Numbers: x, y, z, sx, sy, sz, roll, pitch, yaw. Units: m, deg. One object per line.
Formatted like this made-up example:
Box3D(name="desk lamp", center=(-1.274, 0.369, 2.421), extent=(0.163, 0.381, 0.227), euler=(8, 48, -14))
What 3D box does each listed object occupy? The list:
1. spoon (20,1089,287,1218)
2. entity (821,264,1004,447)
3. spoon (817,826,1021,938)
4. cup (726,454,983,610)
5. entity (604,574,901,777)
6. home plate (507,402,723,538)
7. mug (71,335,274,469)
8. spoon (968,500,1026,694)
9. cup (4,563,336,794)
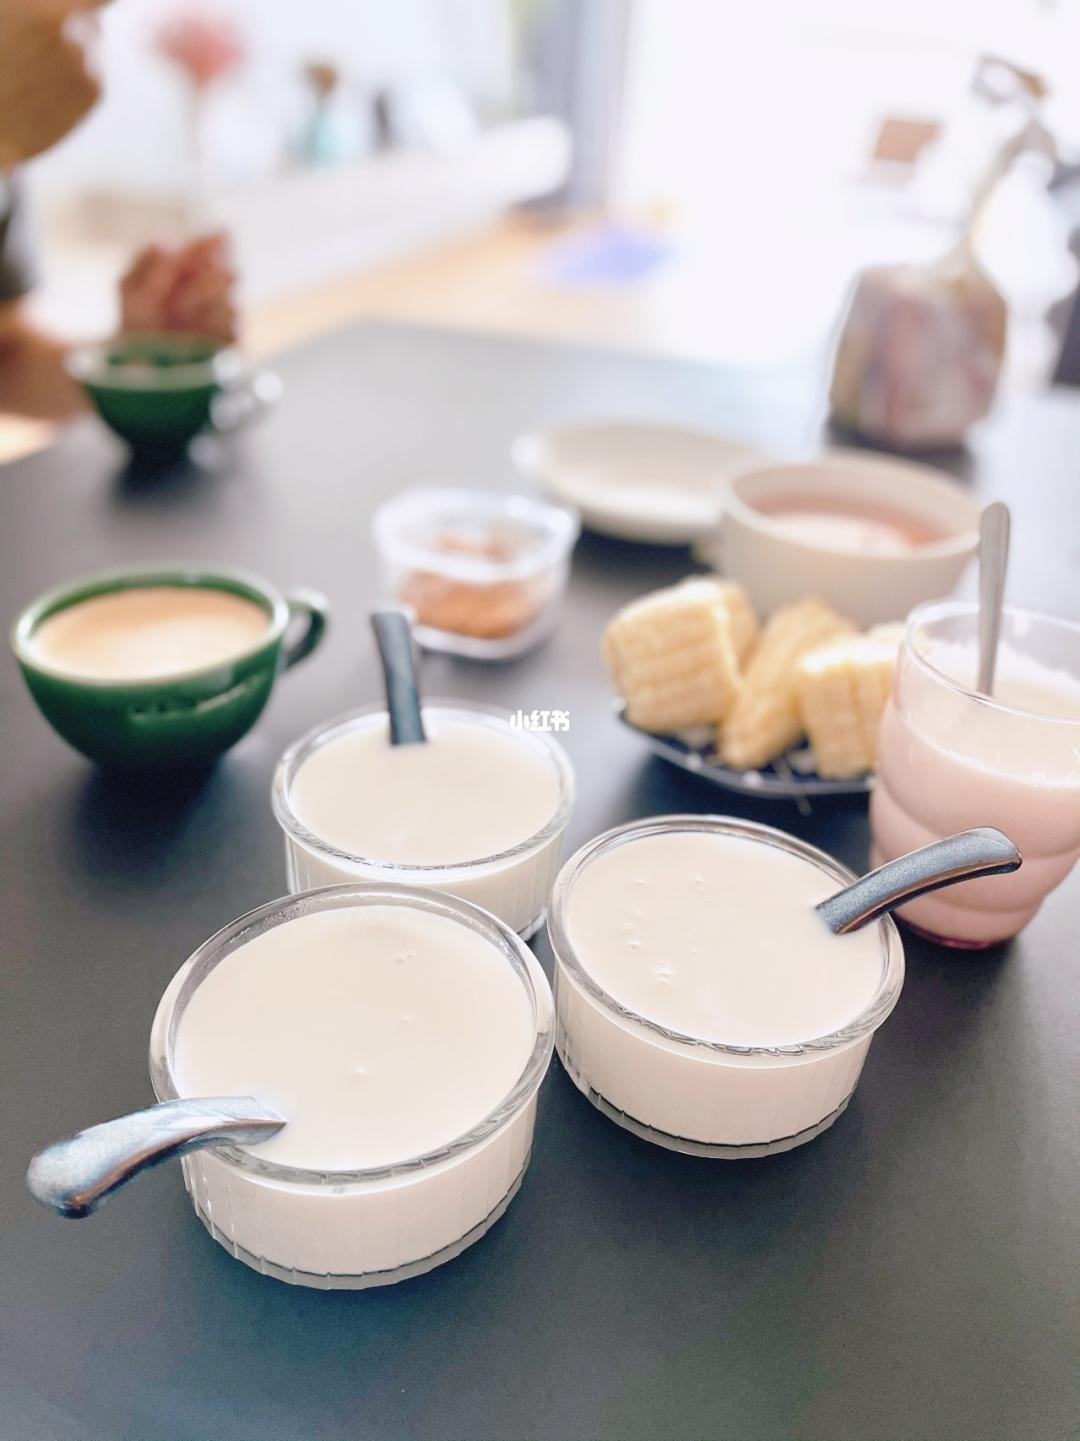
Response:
Box3D(name="spoon", center=(-0.164, 0.177, 0.679), extent=(0.039, 0.031, 0.155), euler=(17, 11, 30))
Box3D(name="entity", center=(0.394, -0.392, 1.622), extent=(0.208, 0.168, 0.143), euler=(-19, 29, -32))
Box3D(name="spoon", center=(0.218, 0.094, 0.857), extent=(0.116, 0.034, 0.024), euler=(-26, 45, 28))
Box3D(name="cup", center=(0.233, -0.133, 1.210), extent=(0.176, 0.067, 0.174), euler=(2, 25, -1))
Box3D(name="entity", center=(0.155, -0.062, 1.037), extent=(0.183, 0.061, 0.169), euler=(14, 38, 24))
Box3D(name="home plate", center=(0.073, -0.242, 1.494), extent=(0.198, 0.036, 0.159), euler=(2, 30, -4))
Box3D(name="mug", center=(-0.360, -0.325, 1.515), extent=(0.177, 0.062, 0.159), euler=(-10, 32, -20))
Box3D(name="spoon", center=(0.277, -0.079, 0.925), extent=(0.024, 0.137, 0.010), euler=(7, 7, 4))
Box3D(name="cup", center=(-0.254, -0.041, 1.002), extent=(0.219, 0.081, 0.164), euler=(-13, 28, -35))
